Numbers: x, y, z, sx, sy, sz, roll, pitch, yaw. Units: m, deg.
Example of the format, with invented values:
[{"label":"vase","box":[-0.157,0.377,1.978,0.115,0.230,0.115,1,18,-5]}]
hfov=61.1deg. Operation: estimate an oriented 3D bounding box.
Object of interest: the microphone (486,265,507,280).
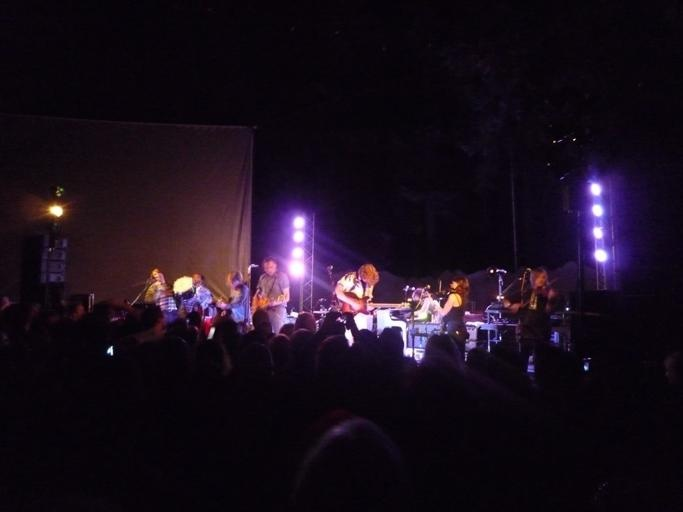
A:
[{"label":"microphone","box":[3.471,0.357,12.888,0.245,0.328,0.489,-15,-12,38]}]

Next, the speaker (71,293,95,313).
[{"label":"speaker","box":[-4.269,0.786,9.538,0.328,0.375,0.204,1,1,19]}]
